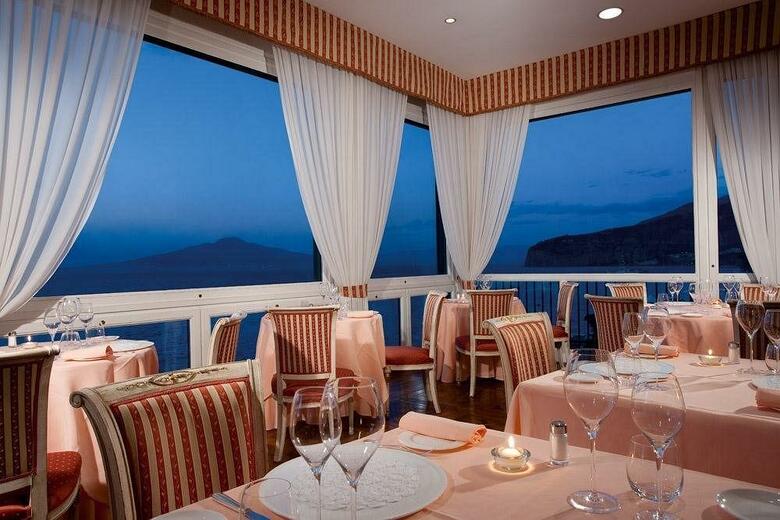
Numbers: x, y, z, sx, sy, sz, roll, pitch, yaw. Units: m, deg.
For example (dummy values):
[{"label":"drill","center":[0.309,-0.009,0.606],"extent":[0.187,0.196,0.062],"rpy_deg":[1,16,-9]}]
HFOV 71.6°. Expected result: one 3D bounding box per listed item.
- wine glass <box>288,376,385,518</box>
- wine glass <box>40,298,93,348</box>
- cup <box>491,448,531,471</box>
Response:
[{"label":"wine glass","center":[-0.149,0.583,1.725],"extent":[0.276,0.428,0.351],"rpy_deg":[-4,-3,7]},{"label":"wine glass","center":[-2.081,0.408,3.456],"extent":[0.292,0.364,0.285],"rpy_deg":[4,4,6]},{"label":"cup","center":[0.421,0.696,1.888],"extent":[0.130,0.063,0.082],"rpy_deg":[-4,-3,10]}]
